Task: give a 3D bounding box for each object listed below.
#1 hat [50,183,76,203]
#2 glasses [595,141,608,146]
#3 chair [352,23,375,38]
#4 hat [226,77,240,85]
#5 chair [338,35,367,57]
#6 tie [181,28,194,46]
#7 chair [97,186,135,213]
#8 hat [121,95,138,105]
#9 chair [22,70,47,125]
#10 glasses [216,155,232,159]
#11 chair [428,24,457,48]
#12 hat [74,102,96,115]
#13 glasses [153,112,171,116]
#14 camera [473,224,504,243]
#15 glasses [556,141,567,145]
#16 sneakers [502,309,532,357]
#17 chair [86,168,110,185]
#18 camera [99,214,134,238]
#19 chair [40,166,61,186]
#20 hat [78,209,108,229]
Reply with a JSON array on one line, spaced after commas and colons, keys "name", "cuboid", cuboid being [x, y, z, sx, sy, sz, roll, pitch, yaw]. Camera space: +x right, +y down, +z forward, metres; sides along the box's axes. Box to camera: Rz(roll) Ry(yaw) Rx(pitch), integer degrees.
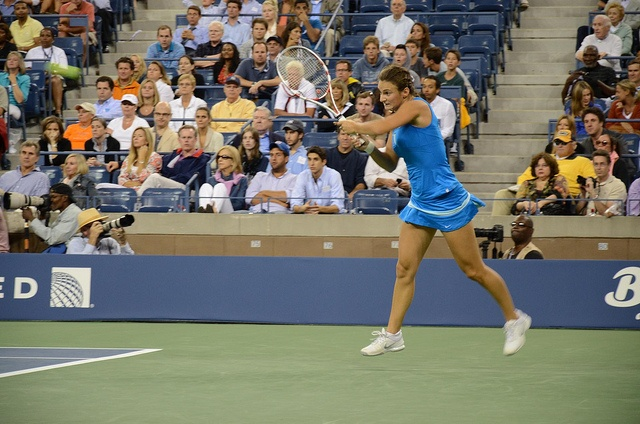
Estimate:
[{"name": "hat", "cuboid": [-3.909, -0.293, 14.530, 0.241, 0.277, 0.312, -9, -17, 38]}, {"name": "glasses", "cuboid": [4.445, -0.949, 14.833, 0.103, 0.073, 0.260, -2, 9, -10]}, {"name": "chair", "cuboid": [0.960, -3.306, 19.935, 0.377, 0.280, 0.314, 5, 26, 7]}, {"name": "hat", "cuboid": [-1.534, -2.014, 16.935, 0.246, 0.125, 0.259, -1, 10, -4]}, {"name": "chair", "cuboid": [0.725, -2.932, 19.451, 0.587, 0.438, 0.444, 0, -1, 5]}, {"name": "tie", "cuboid": [-2.736, -3.175, 19.905, 0.275, 0.292, 0.115, 11, 5, 3]}, {"name": "chair", "cuboid": [-3.127, -0.189, 14.712, 0.493, 0.267, 0.375, 1, 5, 3]}, {"name": "hat", "cuboid": [-3.337, -1.710, 16.698, 0.254, 0.151, 0.332, -1, 10, -6]}, {"name": "chair", "cuboid": [-5.568, -1.951, 18.582, 0.417, 0.888, 0.655, -3, 11, -14]}, {"name": "glasses", "cuboid": [-1.462, -0.751, 14.851, 0.216, 0.062, 0.051, -1, 11, -5]}, {"name": "chair", "cuboid": [2.595, -3.104, 19.433, 0.515, 0.530, 0.564, -1, -15, 12]}, {"name": "hat", "cuboid": [-4.076, -1.597, 16.852, 0.248, 0.144, 0.331, 6, -14, 30]}, {"name": "glasses", "cuboid": [-2.642, -1.440, 16.075, 0.264, 0.051, 0.112, -1, 10, -8]}, {"name": "camera", "cuboid": [2.443, 0.247, 13.420, 0.437, 0.178, 0.251, 0, 3, -3]}, {"name": "glasses", "cuboid": [3.813, -0.954, 14.841, 0.219, 0.071, 0.051, 9, 14, 43]}, {"name": "sneakers", "cuboid": [2.416, 1.251, 11.422, 0.278, 0.550, 0.220, 31, -14, -18]}, {"name": "chair", "cuboid": [-3.674, -0.544, 15.736, 0.254, 0.271, 0.295, -1, 22, -8]}, {"name": "camera", "cuboid": [-3.038, 0.170, 14.199, 0.537, 0.120, 0.212, -14, -38, 33]}, {"name": "chair", "cuboid": [-4.424, -0.542, 15.856, 0.377, 0.287, 0.291, -2, -12, 5]}, {"name": "hat", "cuboid": [-3.379, 0.055, 14.084, 0.345, 0.106, 0.302, -20, 1, 21]}]
